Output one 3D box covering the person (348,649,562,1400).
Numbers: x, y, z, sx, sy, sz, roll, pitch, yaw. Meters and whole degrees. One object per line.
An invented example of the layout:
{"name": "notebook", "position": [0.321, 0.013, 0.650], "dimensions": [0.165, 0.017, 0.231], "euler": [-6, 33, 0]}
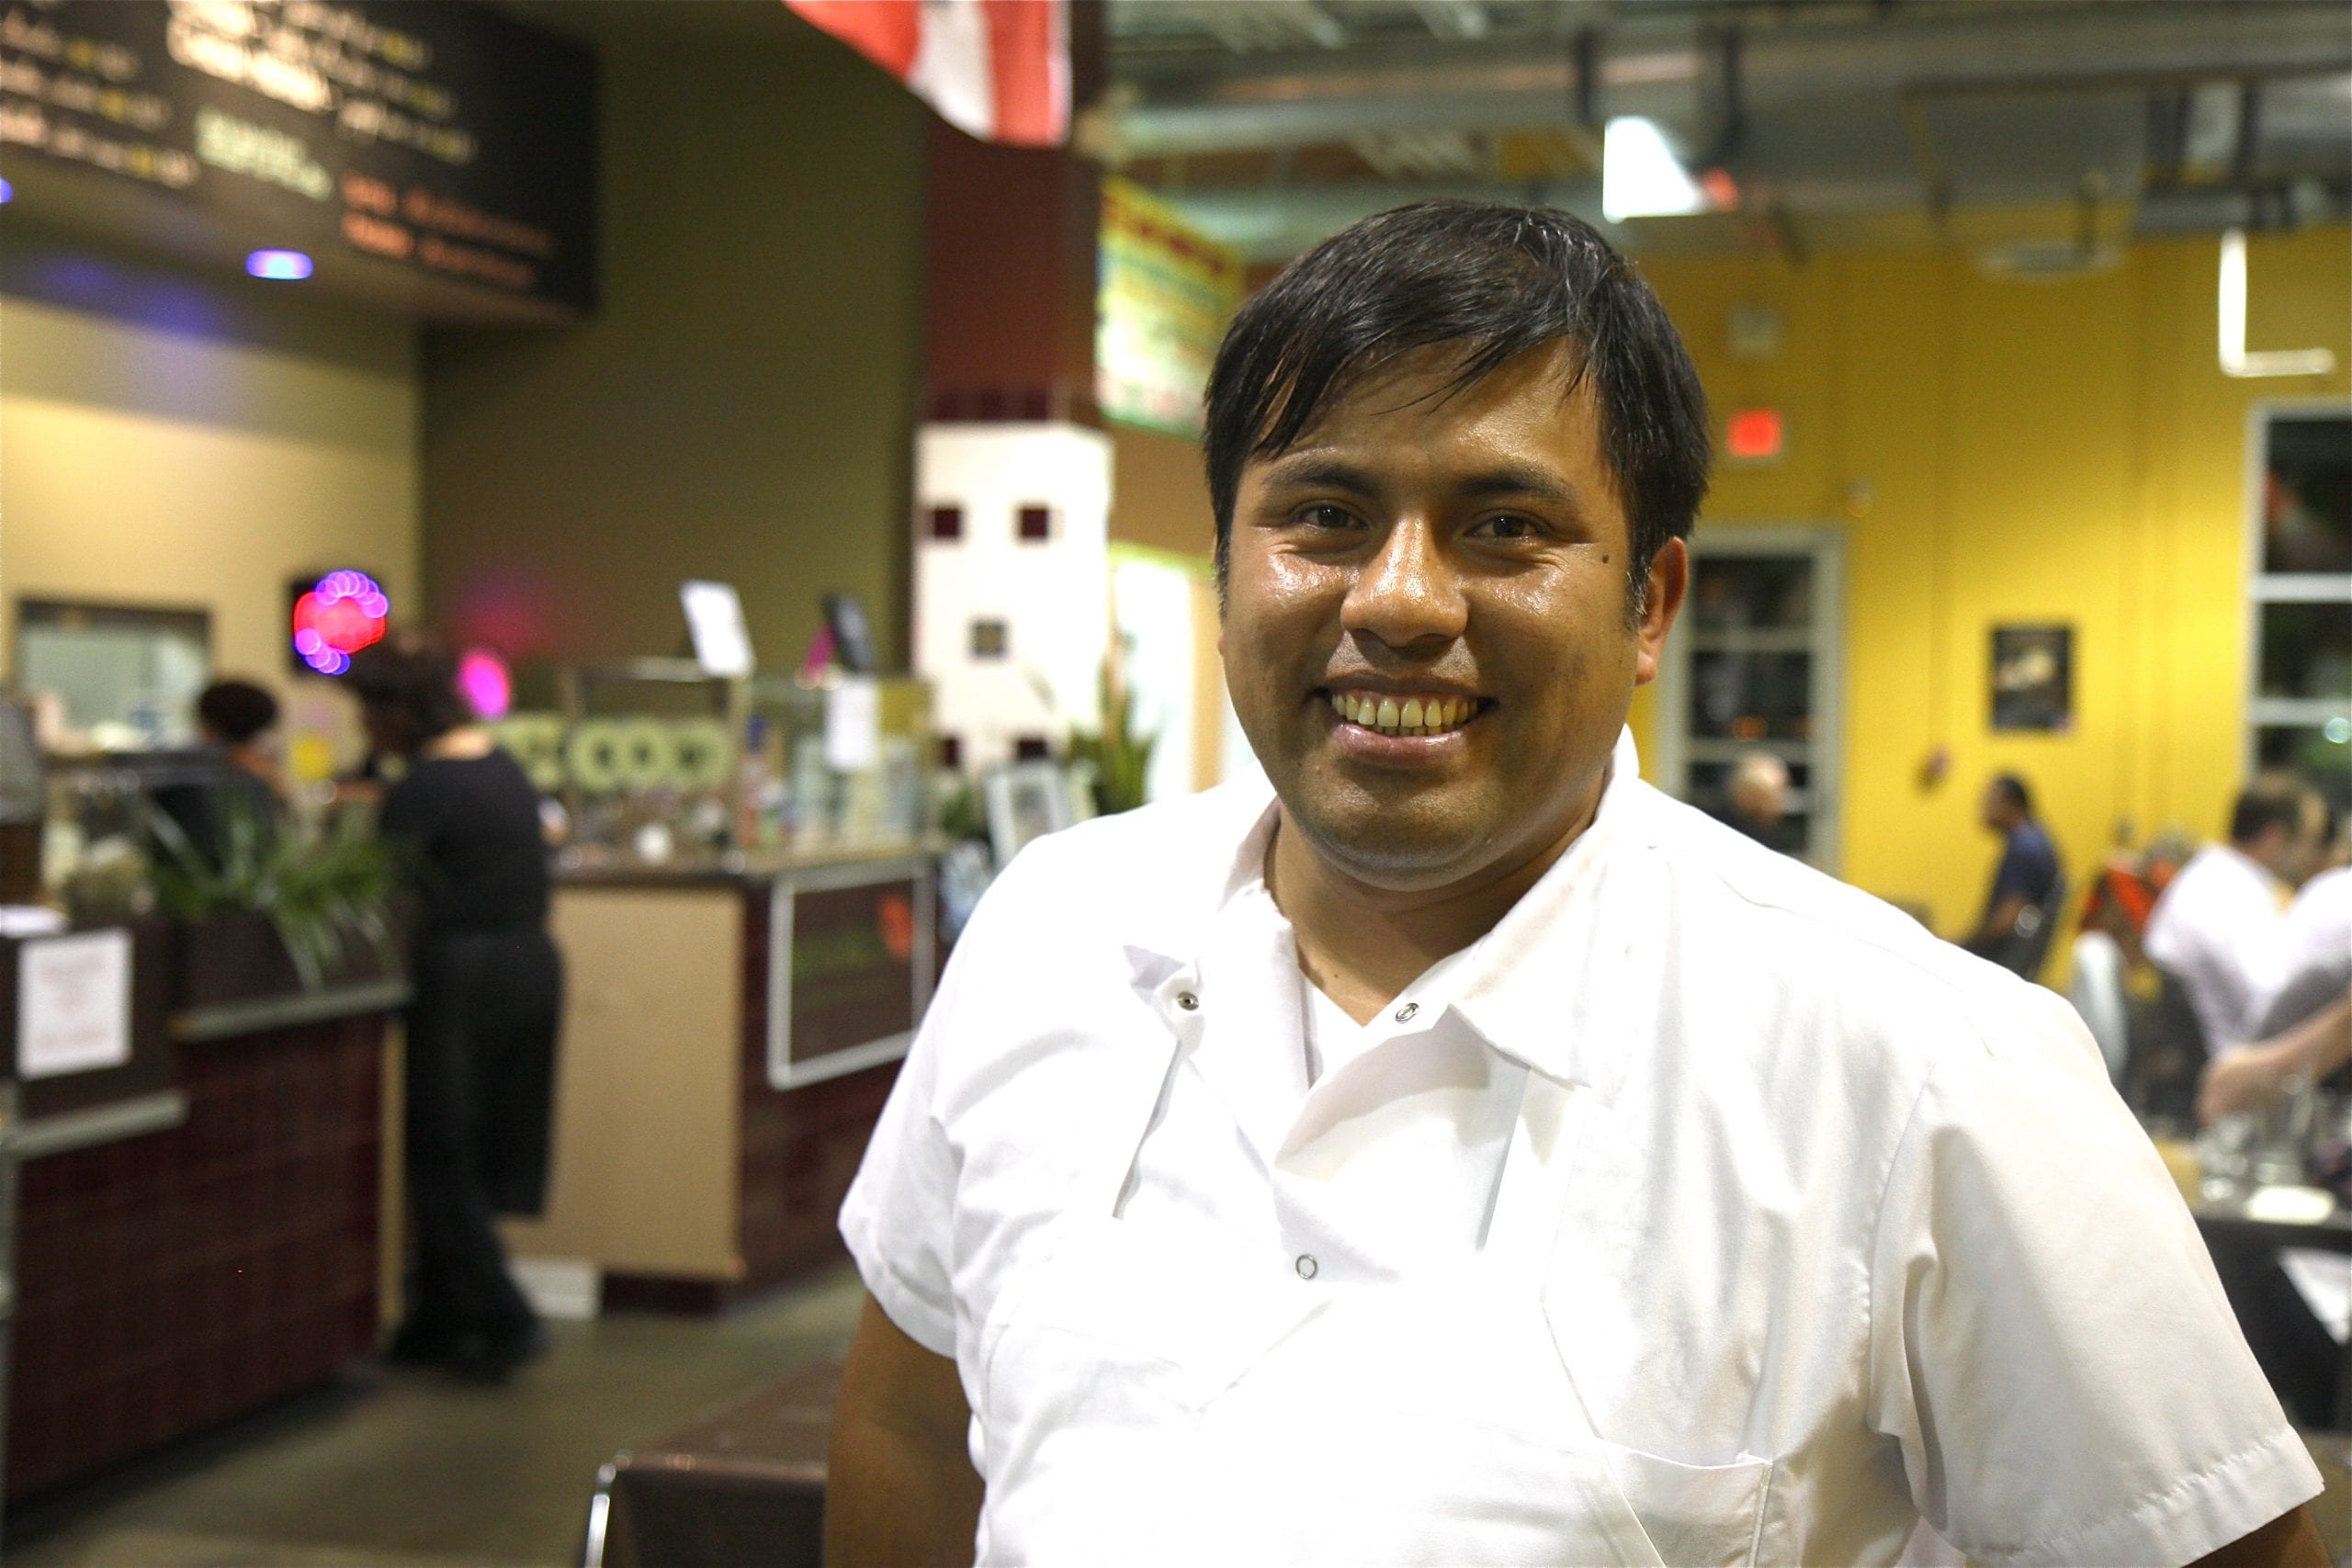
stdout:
{"name": "person", "position": [-1.529, 0.499, 4.600], "dimensions": [0.386, 1.606, 0.335], "euler": [-4, 6, -22]}
